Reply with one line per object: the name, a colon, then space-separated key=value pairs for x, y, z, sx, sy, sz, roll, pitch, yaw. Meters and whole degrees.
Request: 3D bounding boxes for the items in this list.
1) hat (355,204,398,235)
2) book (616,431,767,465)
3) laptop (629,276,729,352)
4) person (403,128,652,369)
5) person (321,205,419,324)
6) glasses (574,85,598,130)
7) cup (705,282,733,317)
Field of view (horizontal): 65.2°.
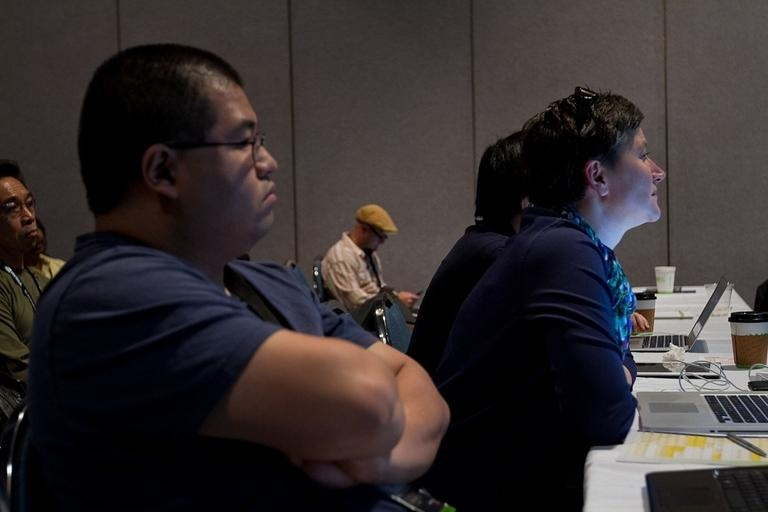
hat: x=-0.049 y=-0.317 z=5.175 sx=0.325 sy=0.142 sz=0.244 roll=29 pitch=7 yaw=-9
book: x=0.683 y=0.435 z=1.364 sx=0.307 sy=0.014 sz=0.146 roll=-2 pitch=6 yaw=12
laptop: x=1.182 y=0.189 z=2.420 sx=0.323 sy=0.220 sz=0.339 roll=-3 pitch=-1 yaw=18
person: x=0.494 y=-0.092 z=2.830 sx=0.880 sy=1.389 sz=0.790 roll=-2 pitch=5 yaw=-8
person: x=-0.046 y=0.014 z=5.300 sx=0.819 sy=1.151 sz=0.806 roll=-1 pitch=2 yaw=3
glasses: x=0.600 y=-0.450 z=1.777 sx=0.073 sy=0.125 sz=0.045 roll=3 pitch=-8 yaw=-5
cup: x=1.643 y=0.214 z=2.929 sx=0.160 sy=0.192 sz=0.175 roll=1 pitch=1 yaw=0
